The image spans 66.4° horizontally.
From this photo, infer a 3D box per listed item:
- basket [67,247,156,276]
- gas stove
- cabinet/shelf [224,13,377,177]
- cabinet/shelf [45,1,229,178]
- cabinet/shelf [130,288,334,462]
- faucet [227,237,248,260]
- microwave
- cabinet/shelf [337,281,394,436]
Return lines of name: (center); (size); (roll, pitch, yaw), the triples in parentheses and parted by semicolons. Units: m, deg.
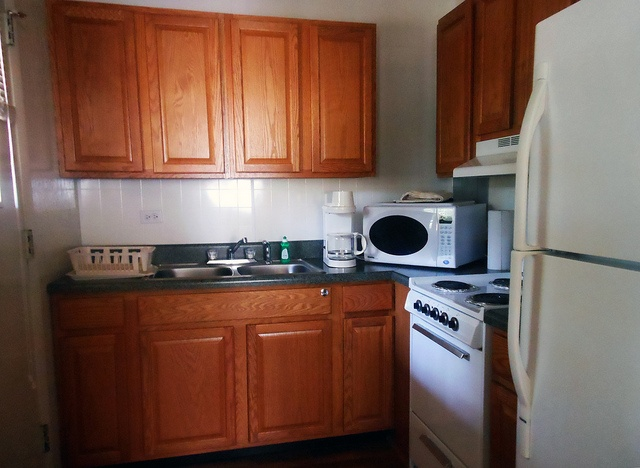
basket: (-1.145, 0.154, 2.710); (0.321, 0.107, 0.214); (-1, 0, -16)
gas stove: (0.690, 0.307, 2.349); (0.498, 0.154, 0.499); (-11, 20, -32)
cabinet/shelf: (-0.144, -0.809, 2.856); (0.927, 0.884, 0.326); (-1, 7, -8)
cabinet/shelf: (-1.041, -0.796, 2.684); (0.975, 0.944, 0.343); (-1, 3, -14)
cabinet/shelf: (-0.504, 0.680, 2.974); (1.464, 1.089, 0.794); (-1, -2, -12)
faucet: (-0.527, 0.092, 3.121); (0.134, 0.129, 0.088); (-4, 8, -11)
microwave: (0.629, -0.005, 2.975); (0.626, 0.359, 0.488); (1, 5, 31)
cabinet/shelf: (0.234, 0.673, 2.923); (0.301, 0.827, 0.390); (0, 5, -10)
